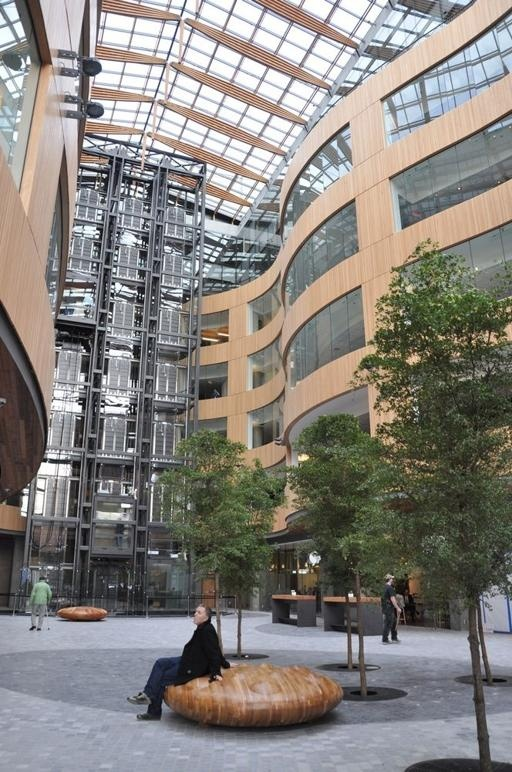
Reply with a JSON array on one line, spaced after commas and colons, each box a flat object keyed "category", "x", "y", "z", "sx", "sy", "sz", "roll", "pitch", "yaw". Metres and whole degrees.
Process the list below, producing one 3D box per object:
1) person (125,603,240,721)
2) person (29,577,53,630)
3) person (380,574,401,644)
[{"category": "person", "x": -0.821, "y": 2.904, "z": 5.897, "sx": 0.985, "sy": 1.107, "sz": 0.710, "roll": 14, "pitch": -23, "yaw": -26}, {"category": "person", "x": -7.390, "y": 7.463, "z": 19.070, "sx": 0.596, "sy": 1.578, "sz": 1.842, "roll": 4, "pitch": -17, "yaw": -19}, {"category": "person", "x": 3.783, "y": 6.188, "z": 15.632, "sx": 0.505, "sy": 1.744, "sz": 0.516, "roll": -6, "pitch": -21, "yaw": 32}]
